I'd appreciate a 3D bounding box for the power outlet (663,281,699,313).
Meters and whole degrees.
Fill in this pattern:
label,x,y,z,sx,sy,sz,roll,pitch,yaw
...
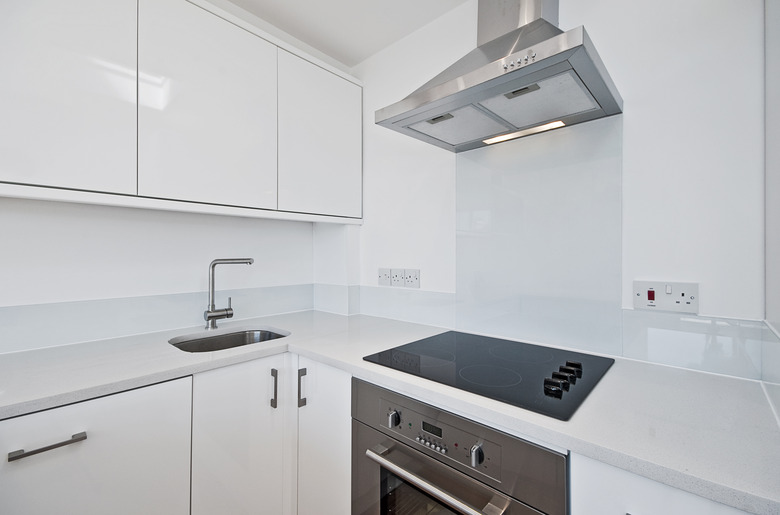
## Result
label,x,y,z,sx,sy,sz,roll,pitch,yaw
power outlet,1.243,0.165,2.200,0.131,0.145,0.016,2,3,43

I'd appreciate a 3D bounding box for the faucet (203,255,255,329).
label,x,y,z,sx,sy,sz,roll,pitch,yaw
faucet,-0.910,0.189,2.878,0.242,0.392,0.240,0,0,-21
